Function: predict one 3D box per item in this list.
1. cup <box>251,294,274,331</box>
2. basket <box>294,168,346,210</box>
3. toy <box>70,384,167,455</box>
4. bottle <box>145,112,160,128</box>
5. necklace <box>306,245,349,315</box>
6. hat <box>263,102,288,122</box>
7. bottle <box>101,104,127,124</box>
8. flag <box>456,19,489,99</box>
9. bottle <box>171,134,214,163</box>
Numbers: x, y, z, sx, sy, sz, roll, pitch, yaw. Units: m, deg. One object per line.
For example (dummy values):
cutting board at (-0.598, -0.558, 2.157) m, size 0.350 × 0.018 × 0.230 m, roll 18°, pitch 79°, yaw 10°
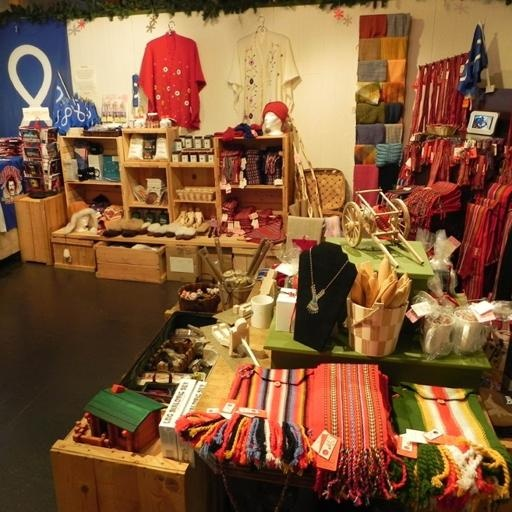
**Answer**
cup at (0.043, 0.306, 2.337) m, size 0.141 × 0.168 × 0.168 m, roll 2°, pitch 18°, yaw 2°
basket at (0.815, -0.821, 5.138) m, size 0.626 × 0.526 × 0.272 m, roll 3°, pitch 17°, yaw 9°
toy at (-0.556, 0.672, 1.711) m, size 0.269 × 0.181 × 0.244 m, roll 16°, pitch 27°, yaw 30°
bottle at (-1.253, -1.657, 5.030) m, size 0.125 × 0.213 × 0.212 m, roll 19°, pitch 33°, yaw 30°
necklace at (0.313, 0.105, 1.803) m, size 0.211 × 0.269 × 0.023 m, roll 29°, pitch 21°, yaw 38°
hat at (0.217, -1.643, 4.738) m, size 0.257 × 0.213 × 0.193 m, roll 15°, pitch -9°, yaw -6°
bottle at (-1.851, -1.878, 5.445) m, size 0.300 × 0.307 × 0.171 m, roll 2°, pitch 11°, yaw 8°
flag at (2.092, -1.871, 3.962) m, size 0.221 × 0.646 × 0.261 m, roll 8°, pitch 18°, yaw 27°
bottle at (-0.741, -1.288, 4.985) m, size 0.589 × 0.309 × 0.236 m, roll 4°, pitch 17°, yaw 14°
